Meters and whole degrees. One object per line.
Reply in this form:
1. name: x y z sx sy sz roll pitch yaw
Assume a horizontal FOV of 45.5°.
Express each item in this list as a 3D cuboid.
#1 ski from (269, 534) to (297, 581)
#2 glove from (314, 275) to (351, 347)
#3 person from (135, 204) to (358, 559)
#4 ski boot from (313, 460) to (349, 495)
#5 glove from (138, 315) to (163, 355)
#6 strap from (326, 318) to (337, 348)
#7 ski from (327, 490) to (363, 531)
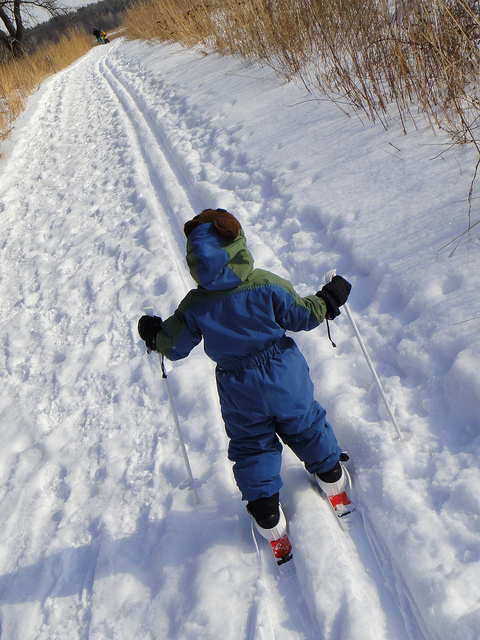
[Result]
1. ski: 0.159 0.838 2.058 0.070 0.153 0.028 -16 8 4
2. glove: 0.331 -0.033 2.217 0.075 0.247 0.167 -32 66 -30
3. person: 0.042 0.200 2.216 0.837 1.255 0.514 -14 13 4
4. ski boot: 0.354 0.598 2.199 0.071 0.077 0.180 -22 25 7
5. glove: -0.375 0.052 2.390 0.115 0.162 0.062 -9 1 19
6. strap: 0.424 0.062 2.650 0.019 0.140 0.020 -18 -6 33
7. ski: 0.390 0.701 2.151 0.079 0.035 0.242 -19 26 -5
